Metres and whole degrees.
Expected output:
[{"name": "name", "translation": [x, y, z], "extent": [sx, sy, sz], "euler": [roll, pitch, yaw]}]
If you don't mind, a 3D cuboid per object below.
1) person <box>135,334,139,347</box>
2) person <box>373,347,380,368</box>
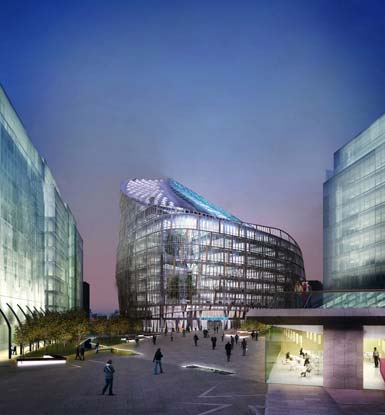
[{"name": "person", "translation": [-6.617, 16.096, 49.954], "extent": [0.283, 1.230, 1.563], "euler": [1, -15, -11]}, {"name": "person", "translation": [10.318, 8.429, 23.399], "extent": [0.342, 0.997, 1.129], "euler": [-8, -16, 20]}]
